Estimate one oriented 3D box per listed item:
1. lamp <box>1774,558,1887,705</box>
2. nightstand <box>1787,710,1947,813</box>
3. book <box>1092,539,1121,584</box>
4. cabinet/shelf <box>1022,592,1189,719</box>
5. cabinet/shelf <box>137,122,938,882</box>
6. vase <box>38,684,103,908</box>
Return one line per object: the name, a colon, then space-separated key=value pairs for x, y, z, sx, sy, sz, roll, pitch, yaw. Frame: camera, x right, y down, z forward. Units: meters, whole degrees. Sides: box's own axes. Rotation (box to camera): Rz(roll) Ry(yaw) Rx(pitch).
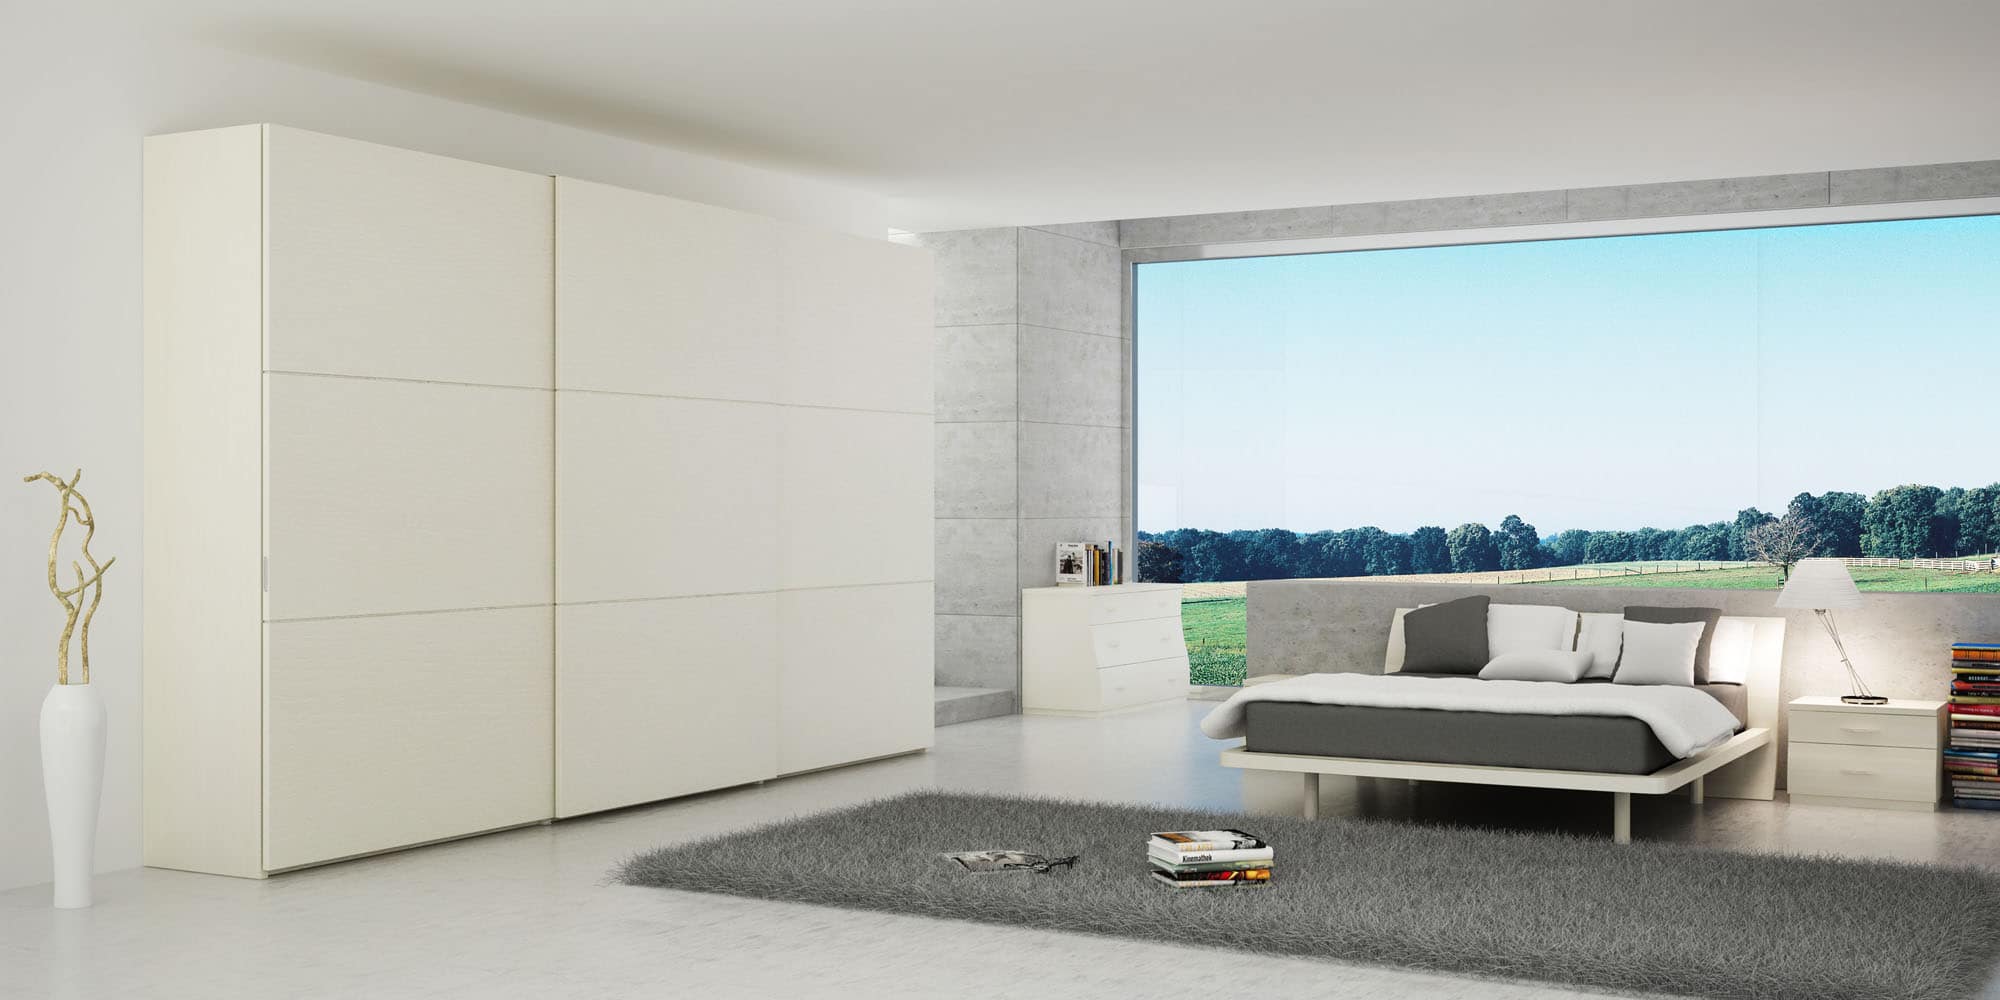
lamp: x=5.961 y=0.914 z=9.022 sx=0.712 sy=0.961 sz=0.603 roll=5 pitch=9 yaw=39
nightstand: x=5.953 y=1.729 z=8.786 sx=1.300 sy=0.725 sz=0.729 roll=-2 pitch=-6 yaw=25
book: x=1.053 y=0.587 z=12.203 sx=0.424 sy=0.410 sz=0.516 roll=-3 pitch=-5 yaw=14
cabinet/shelf: x=1.038 y=1.376 z=12.196 sx=1.245 sy=1.172 sz=2.162 roll=-4 pitch=-4 yaw=39
cabinet/shelf: x=-3.044 y=0.029 z=7.949 sx=1.494 sy=3.234 sz=5.731 roll=-5 pitch=-5 yaw=39
vase: x=-5.023 y=1.586 z=6.823 sx=0.307 sy=1.173 sz=0.312 roll=-2 pitch=8 yaw=-8
